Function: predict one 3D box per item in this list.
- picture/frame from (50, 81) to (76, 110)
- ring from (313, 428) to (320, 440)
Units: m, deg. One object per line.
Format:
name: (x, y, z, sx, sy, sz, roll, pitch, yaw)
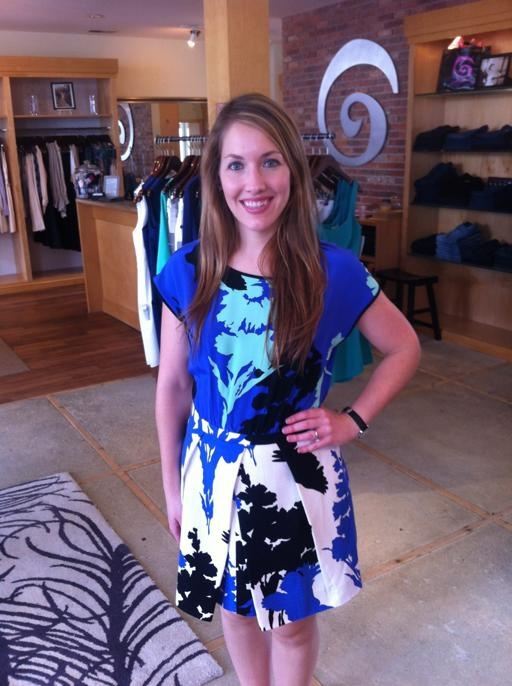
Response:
picture/frame: (-2.707, -3.441, 7.088, 0.381, 0.494, 0.047, -6, 20, -17)
ring: (0.090, 0.139, 0.769, 0.009, 0.020, 0.009, 0, 14, 0)
